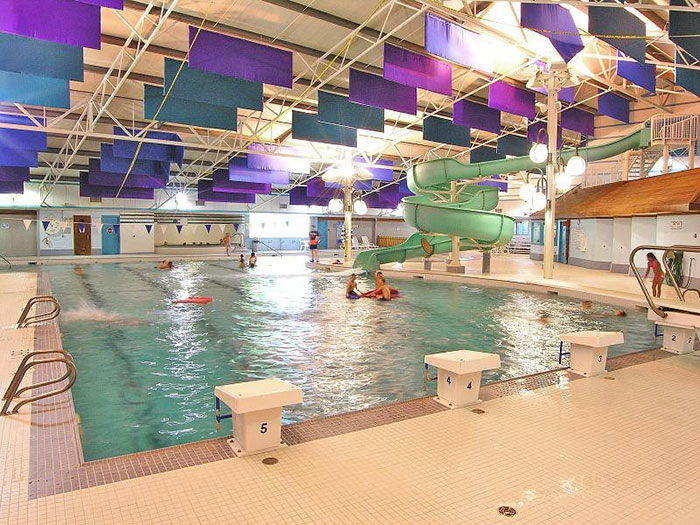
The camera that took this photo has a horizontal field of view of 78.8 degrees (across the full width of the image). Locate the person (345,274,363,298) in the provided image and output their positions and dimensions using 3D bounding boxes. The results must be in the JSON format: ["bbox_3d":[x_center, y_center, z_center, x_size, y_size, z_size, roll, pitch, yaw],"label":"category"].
[{"bbox_3d":[0.119,0.614,12.319,0.453,0.707,0.870,0,6,-1],"label":"person"}]

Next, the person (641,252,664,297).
[{"bbox_3d":[7.880,0.219,11.054,0.365,1.094,2.984,5,7,35],"label":"person"}]

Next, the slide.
[{"bbox_3d":[5.648,-2.858,22.496,10.779,5.720,18.711,0,5,0],"label":"slide"}]

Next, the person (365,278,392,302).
[{"bbox_3d":[0.925,0.728,11.961,0.558,0.531,0.849,-4,7,-34],"label":"person"}]
